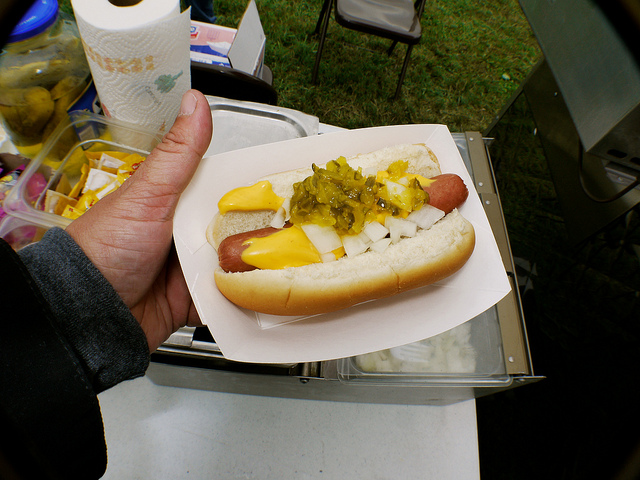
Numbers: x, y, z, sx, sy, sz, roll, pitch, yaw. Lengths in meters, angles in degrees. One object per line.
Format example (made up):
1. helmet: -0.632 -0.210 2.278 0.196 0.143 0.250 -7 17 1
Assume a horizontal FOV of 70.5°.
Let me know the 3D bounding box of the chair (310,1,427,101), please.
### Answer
1. chair: 0.571 -2.279 5.536 0.905 1.522 1.225 8 79 -6

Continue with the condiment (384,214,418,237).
1. condiment: 0.496 -0.087 2.727 0.189 0.047 0.115 20 90 -14

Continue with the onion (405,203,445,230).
1. onion: 0.641 -0.142 2.739 0.156 0.053 0.174 39 98 -6

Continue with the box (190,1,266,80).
1. box: -0.741 -1.455 3.581 0.493 0.706 0.444 1 32 5

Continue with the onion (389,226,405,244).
1. onion: 0.457 -0.037 2.715 0.082 0.089 0.140 6 112 13

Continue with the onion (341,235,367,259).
1. onion: 0.197 0.024 2.670 0.129 0.082 0.129 -28 76 -23

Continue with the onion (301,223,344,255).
1. onion: 0.016 -0.017 2.615 0.175 0.050 0.196 -26 87 -14

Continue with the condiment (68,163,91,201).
1. condiment: -1.385 -0.328 2.626 0.070 0.078 0.228 23 65 -19

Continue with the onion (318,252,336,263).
1. onion: 0.045 0.105 2.643 0.063 0.020 0.068 3 101 -17

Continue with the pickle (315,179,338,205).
1. pickle: 0.040 -0.269 2.551 0.118 0.040 0.137 9 66 -11

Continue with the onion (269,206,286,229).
1. onion: -0.236 -0.130 2.649 0.073 0.029 0.128 18 89 -8

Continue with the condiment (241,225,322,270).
1. condiment: -0.224 0.050 2.601 0.461 0.095 0.223 -6 69 -17

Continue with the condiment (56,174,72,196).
1. condiment: -1.470 -0.303 2.618 0.051 0.096 0.115 17 64 -5

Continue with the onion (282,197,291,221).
1. onion: -0.200 -0.182 2.684 0.039 0.040 0.146 4 63 -8
